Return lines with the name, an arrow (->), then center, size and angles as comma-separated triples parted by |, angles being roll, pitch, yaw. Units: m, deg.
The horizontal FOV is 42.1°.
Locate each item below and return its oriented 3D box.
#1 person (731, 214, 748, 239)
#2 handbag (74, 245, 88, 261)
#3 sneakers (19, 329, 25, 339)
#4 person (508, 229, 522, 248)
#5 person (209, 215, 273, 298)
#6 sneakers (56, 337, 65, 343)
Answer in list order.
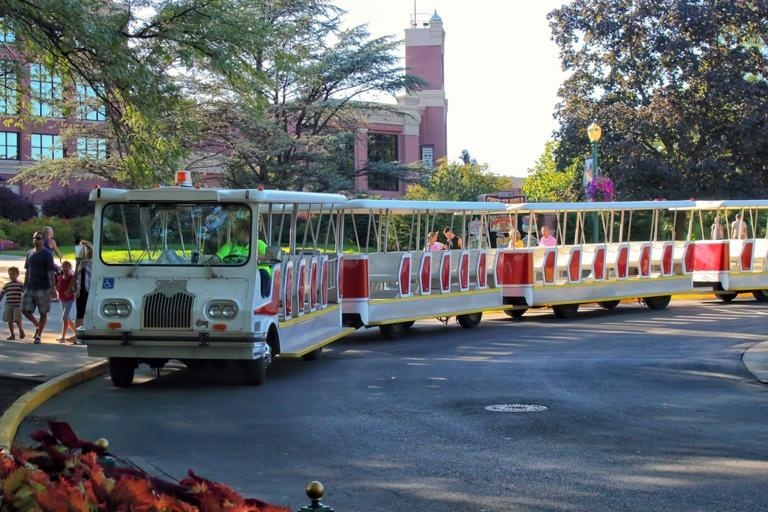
person -> 11.217, -0.940, 31.379 | 0.390, 0.841, 1.564 | 2, 5, 17
handbag -> -5.809, -0.077, 19.017 | 0.189, 0.281, 0.473 | -2, 6, -21
sneakers -> -7.828, 1.679, 21.464 | 0.084, 0.215, 0.058 | -17, 5, 14
person -> 3.642, -0.495, 27.537 | 0.340, 0.464, 1.088 | 1, 5, 6
person -> -2.420, 0.020, 17.496 | 0.963, 1.353, 0.825 | -3, 7, -33
sneakers -> -6.861, 1.753, 21.143 | 0.122, 0.105, 0.240 | -1, 5, -18
